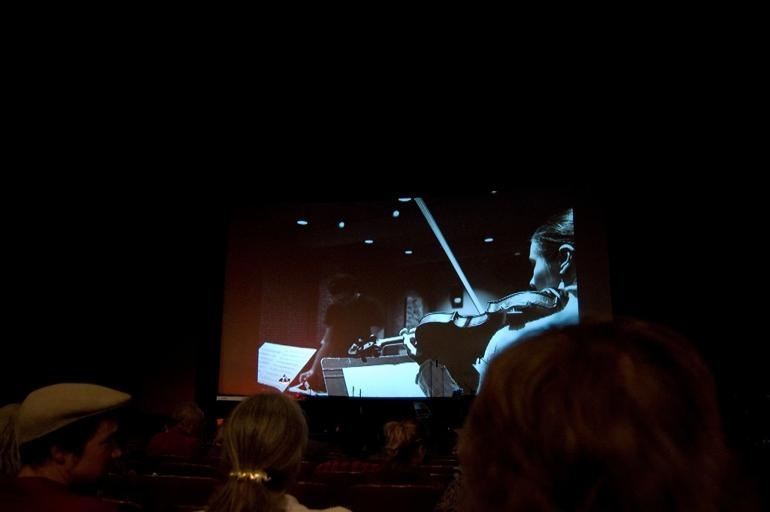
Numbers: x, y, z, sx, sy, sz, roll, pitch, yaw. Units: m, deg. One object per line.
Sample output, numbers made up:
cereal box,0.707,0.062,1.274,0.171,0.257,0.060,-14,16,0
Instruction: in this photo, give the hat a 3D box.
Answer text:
hat,-2.655,1.286,5.565,0.821,0.290,0.510,-6,5,-13
